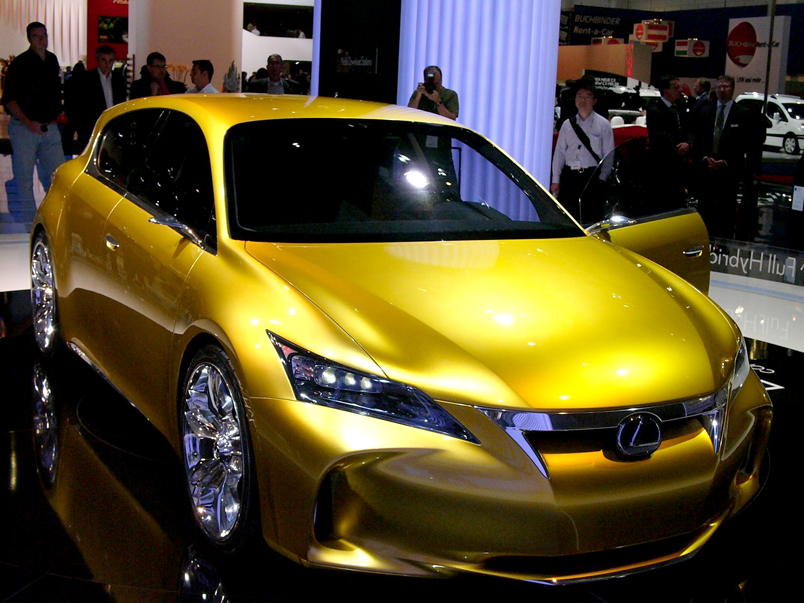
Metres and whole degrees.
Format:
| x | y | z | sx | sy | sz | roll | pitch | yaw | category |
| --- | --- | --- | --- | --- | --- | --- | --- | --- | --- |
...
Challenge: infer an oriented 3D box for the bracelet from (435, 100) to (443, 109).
| x | y | z | sx | sy | sz | roll | pitch | yaw | category |
| --- | --- | --- | --- | --- | --- | --- | --- | --- | --- |
| 0.411 | -2.162 | 6.762 | 0.020 | 0.078 | 0.072 | -10 | -29 | 37 | bracelet |

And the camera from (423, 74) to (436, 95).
| x | y | z | sx | sy | sz | roll | pitch | yaw | category |
| --- | --- | --- | --- | --- | --- | --- | --- | --- | --- |
| 0.303 | -2.380 | 6.720 | 0.083 | 0.203 | 0.204 | -6 | 14 | -9 | camera |

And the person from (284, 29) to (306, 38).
| x | y | z | sx | sy | sz | roll | pitch | yaw | category |
| --- | --- | --- | --- | --- | --- | --- | --- | --- | --- |
| -3.258 | -8.248 | 18.826 | 0.551 | 0.313 | 0.856 | -1 | 14 | -15 | person |
